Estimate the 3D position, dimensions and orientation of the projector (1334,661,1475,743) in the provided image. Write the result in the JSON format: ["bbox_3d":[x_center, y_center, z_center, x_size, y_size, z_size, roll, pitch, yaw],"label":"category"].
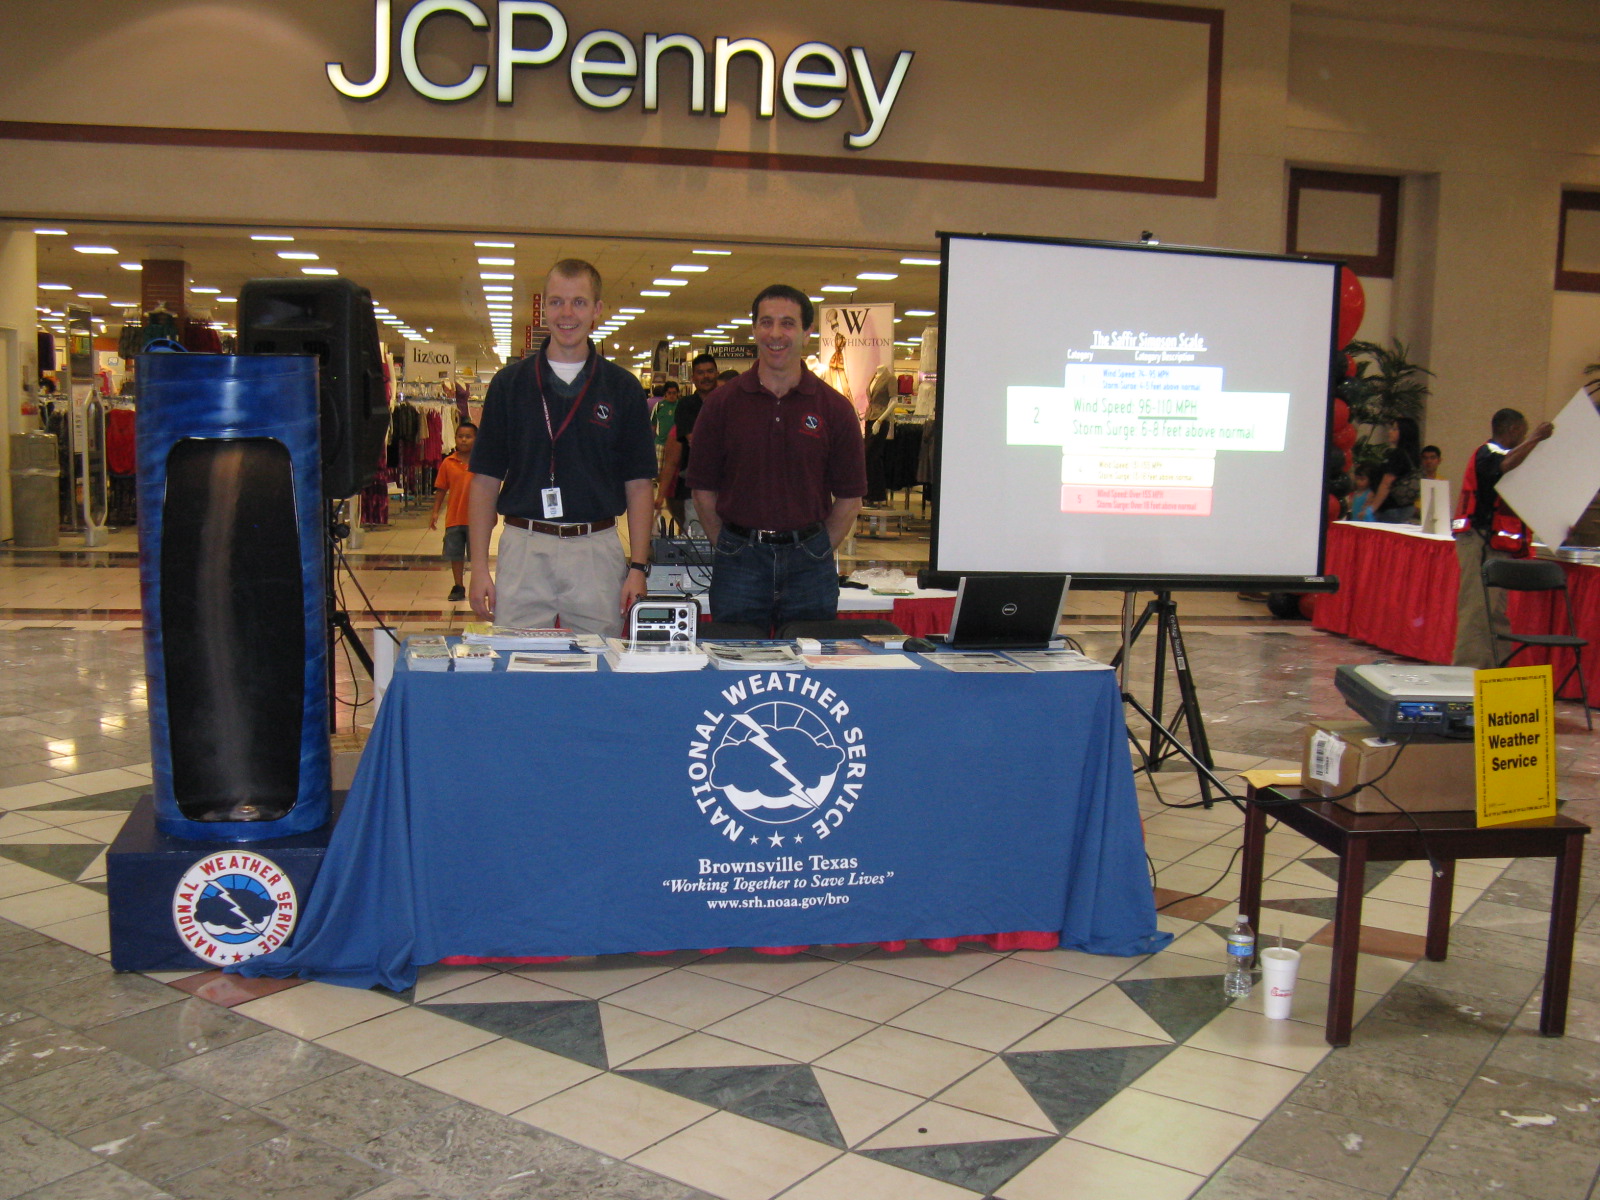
[{"bbox_3d":[1.902,0.311,4.131,0.248,0.085,0.271,-2,13,-2],"label":"projector"}]

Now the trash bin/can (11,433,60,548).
[{"bbox_3d":[-8.079,-1.147,14.076,0.493,1.174,0.329,-2,9,-18],"label":"trash bin/can"}]

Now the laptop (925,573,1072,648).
[{"bbox_3d":[0.707,0.042,4.587,0.356,0.260,0.252,0,14,-15],"label":"laptop"}]

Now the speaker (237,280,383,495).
[{"bbox_3d":[-2.025,-0.879,5.606,0.568,0.911,0.501,-2,9,-19],"label":"speaker"}]

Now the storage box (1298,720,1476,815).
[{"bbox_3d":[1.778,0.538,4.085,0.270,0.154,0.294,0,2,-1],"label":"storage box"}]

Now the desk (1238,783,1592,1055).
[{"bbox_3d":[1.896,0.971,4.116,0.979,0.673,0.460,3,9,8],"label":"desk"}]
